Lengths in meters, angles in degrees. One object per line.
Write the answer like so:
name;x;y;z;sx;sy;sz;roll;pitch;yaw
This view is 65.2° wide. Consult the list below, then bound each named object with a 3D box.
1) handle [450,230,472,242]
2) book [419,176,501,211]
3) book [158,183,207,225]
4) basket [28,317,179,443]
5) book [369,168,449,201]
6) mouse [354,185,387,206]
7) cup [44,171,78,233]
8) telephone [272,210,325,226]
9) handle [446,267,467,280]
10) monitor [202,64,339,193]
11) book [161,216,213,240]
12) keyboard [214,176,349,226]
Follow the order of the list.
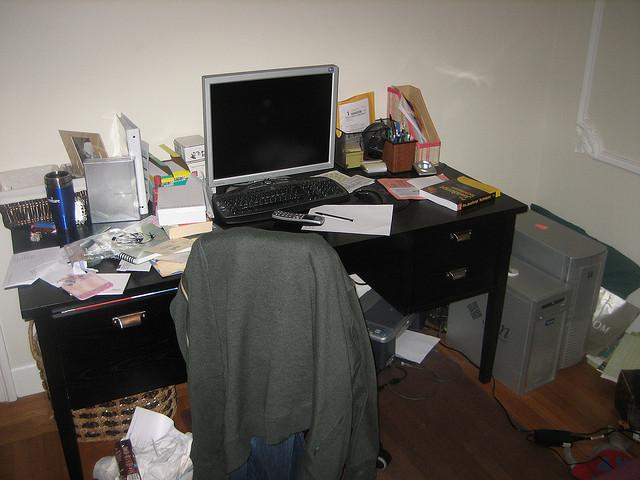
handle;0.583;-0.020;2.079;0.077;0.033;0.045;-7;68;-21
book;0.618;-0.208;2.205;0.310;0.049;0.231;-20;30;-30
book;-0.548;-0.145;2.003;0.176;0.099;0.227;-9;26;-11
basket;-0.936;0.750;2.428;0.699;0.463;0.599;-4;24;-14
book;0.405;-0.252;2.274;0.206;0.034;0.191;-5;35;-11
mouse;0.217;-0.199;2.148;0.074;0.038;0.105;-13;37;-29
cup;-1.001;-0.142;1.961;0.097;0.224;0.064;-18;28;-28
telephone;-0.074;-0.087;1.984;0.166;0.034;0.080;6;29;3
handle;0.588;0.145;2.132;0.108;0.052;0.017;-14;26;-19
monitor;-0.211;-0.468;2.125;0.499;0.449;0.119;-11;26;-22
book;-0.486;-0.030;1.880;0.144;0.035;0.146;-10;28;-20
keyboard;-0.151;-0.170;2.109;0.561;0.085;0.258;-10;26;-12
